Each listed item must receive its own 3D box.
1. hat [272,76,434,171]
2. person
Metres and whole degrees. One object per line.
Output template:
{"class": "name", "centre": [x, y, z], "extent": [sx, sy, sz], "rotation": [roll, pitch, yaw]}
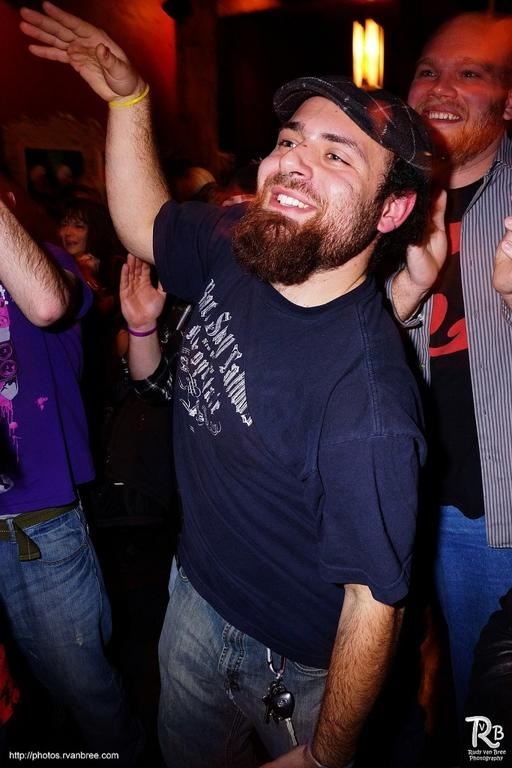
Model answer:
{"class": "hat", "centre": [0.238, -0.521, 1.436], "extent": [0.322, 0.102, 0.230], "rotation": [21, 22, -40]}
{"class": "person", "centre": [0.016, 0.196, 1.550], "extent": [0.713, 1.671, 0.980], "rotation": [5, 30, 10]}
